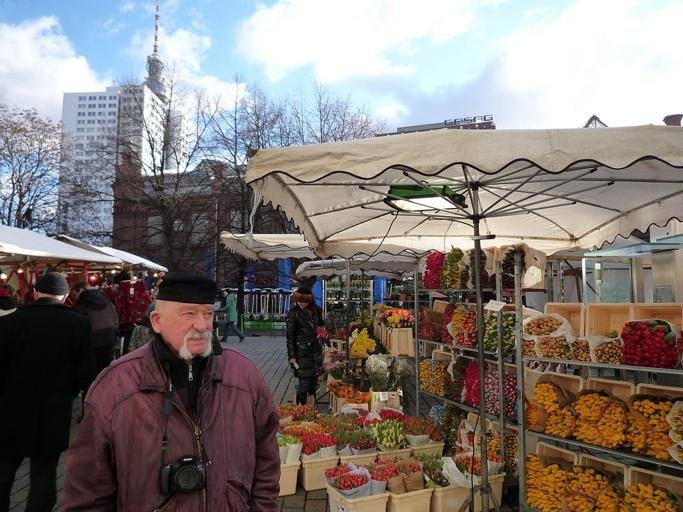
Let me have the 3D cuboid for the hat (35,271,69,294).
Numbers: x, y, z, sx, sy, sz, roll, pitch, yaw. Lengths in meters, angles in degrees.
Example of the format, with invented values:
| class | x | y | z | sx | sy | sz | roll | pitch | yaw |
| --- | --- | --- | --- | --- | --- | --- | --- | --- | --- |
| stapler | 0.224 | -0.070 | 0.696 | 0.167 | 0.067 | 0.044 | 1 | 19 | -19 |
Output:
| class | x | y | z | sx | sy | sz | roll | pitch | yaw |
| --- | --- | --- | --- | --- | --- | --- | --- | --- | --- |
| hat | -3.142 | 0.254 | 6.042 | 0.271 | 0.176 | 0.267 | 7 | -1 | 43 |

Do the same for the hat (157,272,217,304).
| class | x | y | z | sx | sy | sz | roll | pitch | yaw |
| --- | --- | --- | --- | --- | --- | --- | --- | --- | --- |
| hat | -1.026 | 0.176 | 3.804 | 0.418 | 0.181 | 0.385 | -6 | 8 | -24 |

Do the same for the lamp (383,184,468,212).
| class | x | y | z | sx | sy | sz | roll | pitch | yaw |
| --- | --- | --- | --- | --- | --- | --- | --- | --- | --- |
| lamp | 0.934 | -0.629 | 6.069 | 0.586 | 0.158 | 0.442 | -4 | -5 | 9 |

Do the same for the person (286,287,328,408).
| class | x | y | z | sx | sy | sz | roll | pitch | yaw |
| --- | --- | --- | --- | --- | --- | --- | --- | --- | --- |
| person | -0.482 | 1.523 | 8.805 | 0.695 | 2.069 | 0.581 | -6 | 11 | -25 |

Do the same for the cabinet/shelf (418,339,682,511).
| class | x | y | z | sx | sy | sz | roll | pitch | yaw |
| --- | --- | --- | --- | --- | --- | --- | --- | --- | --- |
| cabinet/shelf | 2.327 | 1.705 | 5.366 | 1.630 | 1.516 | 0.760 | 0 | -3 | 25 |

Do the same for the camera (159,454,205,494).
| class | x | y | z | sx | sy | sz | roll | pitch | yaw |
| --- | --- | --- | --- | --- | --- | --- | --- | --- | --- |
| camera | -0.982 | 1.330 | 3.479 | 0.264 | 0.220 | 0.148 | 2 | -5 | -12 |
